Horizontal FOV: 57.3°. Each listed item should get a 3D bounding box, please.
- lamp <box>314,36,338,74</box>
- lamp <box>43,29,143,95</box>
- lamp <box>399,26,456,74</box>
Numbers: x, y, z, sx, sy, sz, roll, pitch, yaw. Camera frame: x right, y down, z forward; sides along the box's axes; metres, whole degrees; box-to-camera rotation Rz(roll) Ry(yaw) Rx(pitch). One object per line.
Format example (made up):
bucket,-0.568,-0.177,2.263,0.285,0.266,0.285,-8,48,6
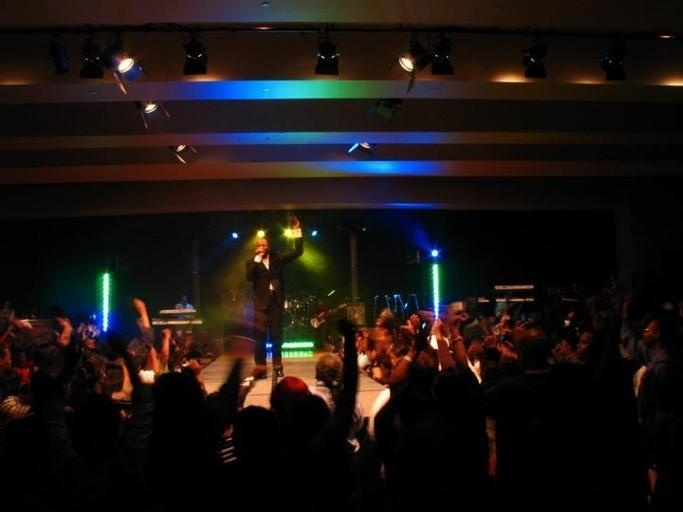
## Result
lamp,-0.146,-2.089,6.534,0.249,0.473,0.274,1,-9,-2
lamp,-2.454,-1.990,6.539,0.733,0.710,0.294,-3,-28,-8
lamp,0.903,-2.160,6.631,0.580,0.573,0.409,-4,-10,22
